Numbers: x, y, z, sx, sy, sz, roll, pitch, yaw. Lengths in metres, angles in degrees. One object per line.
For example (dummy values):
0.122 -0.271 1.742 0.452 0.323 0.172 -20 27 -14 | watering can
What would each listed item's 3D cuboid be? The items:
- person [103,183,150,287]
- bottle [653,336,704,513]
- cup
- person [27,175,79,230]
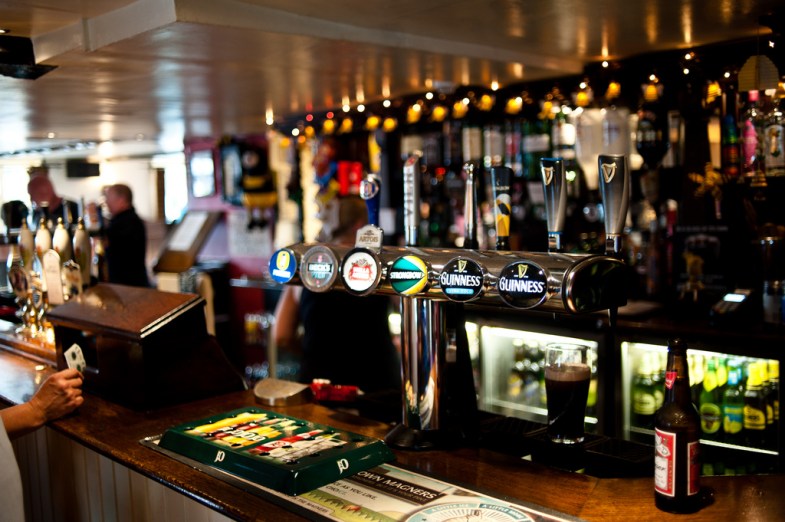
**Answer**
-2.071 -0.197 5.214 0.291 0.805 0.311 -5 5 -19 | person
0.852 0.488 2.009 0.135 0.508 0.142 -4 5 0 | bottle
0.589 0.444 2.238 0.143 0.337 0.092 -2 5 12 | cup
-2.276 -0.429 4.514 0.307 0.328 1.055 -6 5 -25 | person
